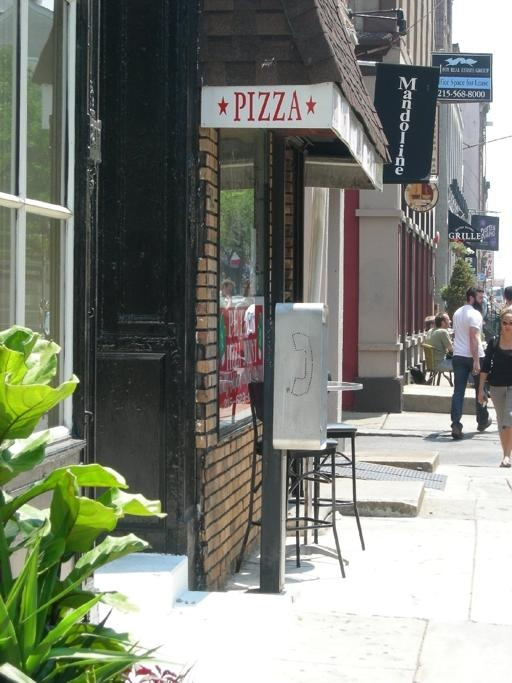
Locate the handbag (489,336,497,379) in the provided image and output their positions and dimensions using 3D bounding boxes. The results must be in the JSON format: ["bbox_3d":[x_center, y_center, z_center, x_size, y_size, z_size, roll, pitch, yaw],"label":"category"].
[{"bbox_3d":[2.250,0.171,9.600,0.062,0.347,0.189,0,1,19],"label":"handbag"}]

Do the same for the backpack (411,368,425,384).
[{"bbox_3d":[2.803,0.632,17.592,0.120,0.310,0.190,-17,1,-7],"label":"backpack"}]

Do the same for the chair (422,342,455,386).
[{"bbox_3d":[2.977,0.384,16.351,0.437,0.887,0.605,1,14,5],"label":"chair"}]

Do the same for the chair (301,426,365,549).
[{"bbox_3d":[0.477,0.883,6.122,0.329,0.777,0.387,-2,-5,16],"label":"chair"}]
